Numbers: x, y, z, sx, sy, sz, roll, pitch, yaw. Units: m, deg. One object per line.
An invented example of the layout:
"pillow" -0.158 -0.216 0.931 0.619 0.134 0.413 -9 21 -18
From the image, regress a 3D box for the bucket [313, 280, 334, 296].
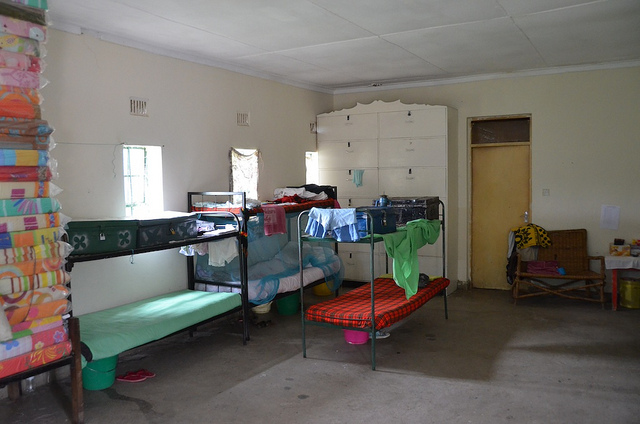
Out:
"bucket" 0.076 1.489 8.203 0.411 0.281 0.391 -2 -1 0

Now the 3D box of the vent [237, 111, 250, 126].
"vent" -1.342 -1.635 7.316 0.066 0.231 0.247 6 9 30

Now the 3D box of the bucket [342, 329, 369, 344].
"bucket" 0.511 1.790 5.981 0.353 0.220 0.348 0 -1 0

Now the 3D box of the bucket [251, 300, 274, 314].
"bucket" -1.007 1.657 7.260 0.321 0.230 0.317 0 -2 0

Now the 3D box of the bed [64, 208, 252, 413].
"bed" -2.386 1.039 5.777 1.614 1.751 2.712 -5 2 31

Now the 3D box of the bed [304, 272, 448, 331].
"bed" 0.874 1.058 6.139 1.282 0.711 2.007 4 9 31

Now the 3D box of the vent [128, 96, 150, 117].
"vent" -2.564 -1.485 5.929 0.263 0.253 0.240 -6 -19 12

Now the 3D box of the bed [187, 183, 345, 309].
"bed" -0.919 0.548 6.620 0.872 1.629 2.239 -1 2 22

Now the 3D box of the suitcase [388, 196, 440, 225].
"suitcase" 1.506 -0.024 6.779 0.645 0.413 0.718 5 10 35

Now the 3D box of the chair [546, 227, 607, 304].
"chair" 4.472 0.936 7.466 1.088 1.151 1.084 0 -1 -22

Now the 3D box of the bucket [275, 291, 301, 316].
"bucket" -0.542 1.562 7.256 0.429 0.317 0.422 -2 -6 0
